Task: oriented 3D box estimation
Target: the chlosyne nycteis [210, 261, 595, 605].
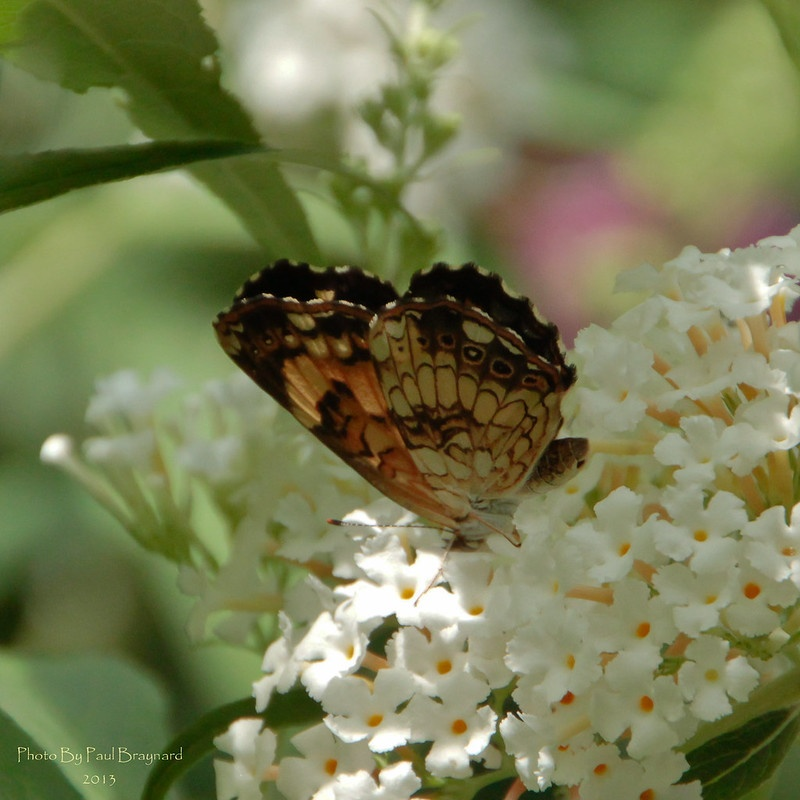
[{"bbox_3d":[0.016,0.003,1.342,0.511,0.374,0.214,-7,28,-1],"label":"chlosyne nycteis"}]
